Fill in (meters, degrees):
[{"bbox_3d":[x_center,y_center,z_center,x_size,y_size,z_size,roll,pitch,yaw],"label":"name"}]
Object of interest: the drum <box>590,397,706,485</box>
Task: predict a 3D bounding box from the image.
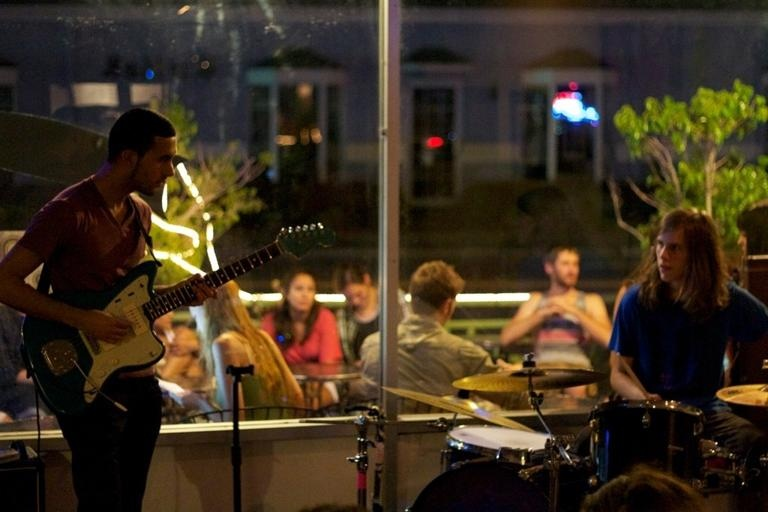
[{"bbox_3d":[1.487,1.008,7.116,0.466,0.367,0.493,-1,-5,0],"label":"drum"}]
